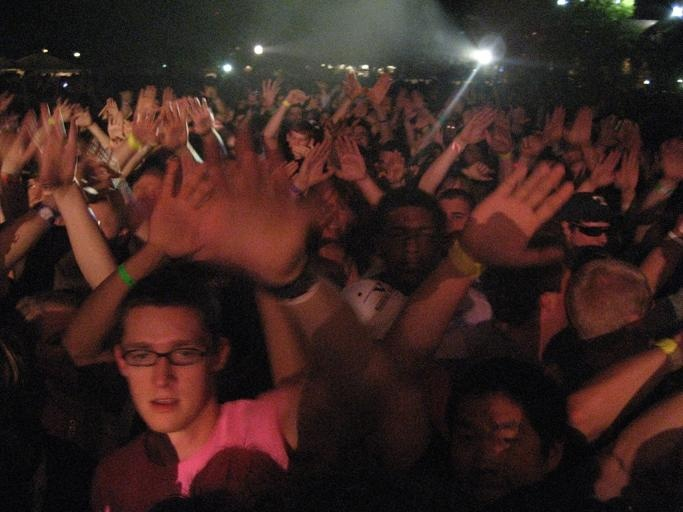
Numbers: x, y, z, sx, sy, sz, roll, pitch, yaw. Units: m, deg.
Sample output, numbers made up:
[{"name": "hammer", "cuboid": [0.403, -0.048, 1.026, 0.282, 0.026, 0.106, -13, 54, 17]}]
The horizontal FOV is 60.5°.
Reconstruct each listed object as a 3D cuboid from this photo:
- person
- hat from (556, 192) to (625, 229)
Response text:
[{"name": "person", "cuboid": [-0.094, 0.274, 3.040, 2.396, 1.300, 0.619, 8, 10, -9]}, {"name": "hat", "cuboid": [1.326, -0.296, 3.290, 0.217, 0.179, 0.391, -32, 20, -30]}]
